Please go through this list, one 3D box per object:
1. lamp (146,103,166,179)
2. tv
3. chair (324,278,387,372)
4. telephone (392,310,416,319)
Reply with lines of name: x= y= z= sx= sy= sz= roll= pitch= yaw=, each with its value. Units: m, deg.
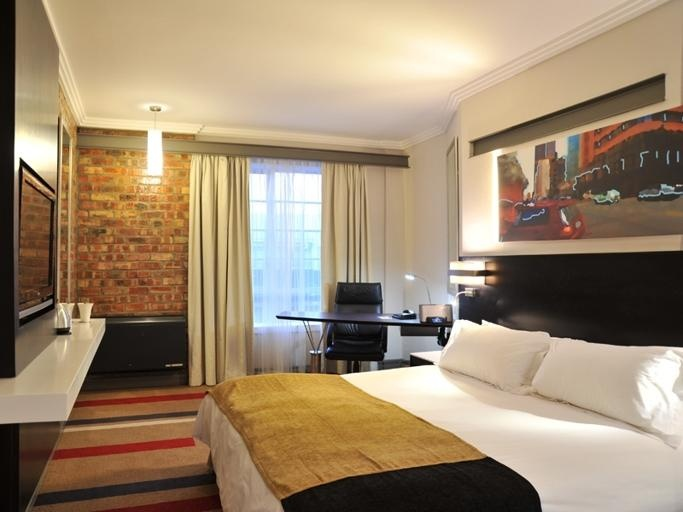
lamp: x=-2.027 y=-1.241 z=5.242 sx=0.193 sy=0.733 sz=0.790 roll=-2 pitch=8 yaw=-23
tv: x=-1.782 y=-0.085 z=2.823 sx=0.043 sy=0.738 sz=1.025 roll=0 pitch=1 yaw=-21
chair: x=0.158 y=0.867 z=5.240 sx=0.618 sy=1.112 sz=0.760 roll=1 pitch=5 yaw=7
telephone: x=0.682 y=0.606 z=4.982 sx=0.153 sy=0.059 sz=0.117 roll=3 pitch=-2 yaw=-38
